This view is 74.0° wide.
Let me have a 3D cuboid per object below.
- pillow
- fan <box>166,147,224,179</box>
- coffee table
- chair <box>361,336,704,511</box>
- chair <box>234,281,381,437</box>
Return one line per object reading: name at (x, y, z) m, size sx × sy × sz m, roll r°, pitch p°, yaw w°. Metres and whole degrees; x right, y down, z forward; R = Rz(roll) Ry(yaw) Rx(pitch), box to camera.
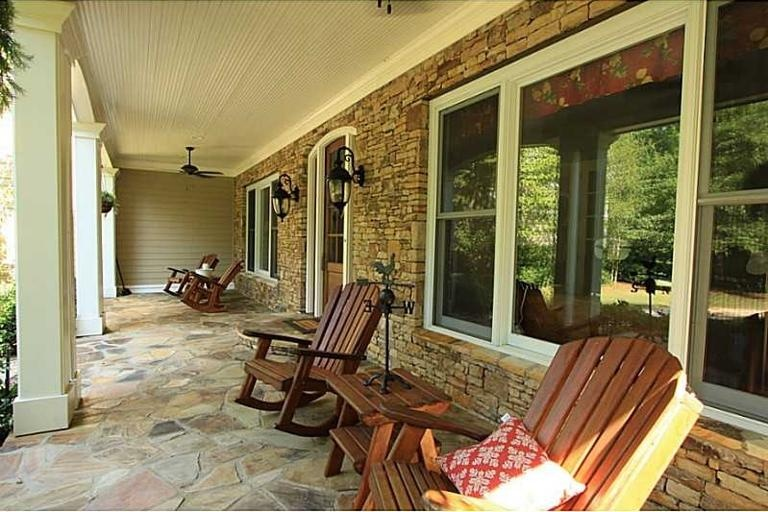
pillow at (0.667, 1.205, 2.943) m, size 0.545 × 0.149 × 0.501 m, roll -29°, pitch 36°, yaw -8°
fan at (-3.778, -1.713, 9.979) m, size 1.129 × 0.413 × 1.105 m, roll -3°, pitch 4°, yaw -44°
coffee table at (-0.117, 1.147, 3.702) m, size 1.037 × 0.868 × 1.039 m, roll 1°, pitch 2°, yaw -24°
chair at (0.851, 0.986, 3.314) m, size 1.945 × 1.024 × 1.137 m, roll 0°, pitch 6°, yaw -11°
chair at (-0.694, 0.884, 4.526) m, size 1.087 × 1.002 × 1.218 m, roll 1°, pitch 8°, yaw 26°
